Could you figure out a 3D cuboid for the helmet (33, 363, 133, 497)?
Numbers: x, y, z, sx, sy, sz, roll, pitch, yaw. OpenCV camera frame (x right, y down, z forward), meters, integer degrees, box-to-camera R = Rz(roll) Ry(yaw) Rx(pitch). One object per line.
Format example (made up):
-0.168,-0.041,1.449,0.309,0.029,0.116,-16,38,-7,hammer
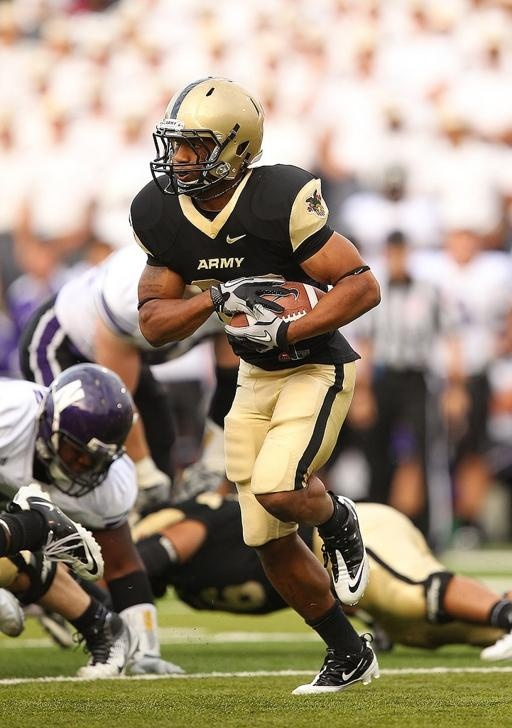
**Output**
-0.439,0.159,2.226,0.266,0.303,0.335,24,19,-20,helmet

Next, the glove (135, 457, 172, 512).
-0.431,0.508,3.459,0.121,0.214,0.252,6,9,11,glove

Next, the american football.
0.059,-0.100,1.696,0.208,0.059,0.112,-10,43,-1,american football

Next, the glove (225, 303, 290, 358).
0.004,-0.078,1.652,0.132,0.085,0.066,4,10,5,glove

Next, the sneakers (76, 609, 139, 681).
-0.414,0.797,2.210,0.132,0.145,0.168,2,9,-10,sneakers

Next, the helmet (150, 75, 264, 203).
-0.106,-0.497,1.737,0.196,0.274,0.232,7,10,17,helmet
